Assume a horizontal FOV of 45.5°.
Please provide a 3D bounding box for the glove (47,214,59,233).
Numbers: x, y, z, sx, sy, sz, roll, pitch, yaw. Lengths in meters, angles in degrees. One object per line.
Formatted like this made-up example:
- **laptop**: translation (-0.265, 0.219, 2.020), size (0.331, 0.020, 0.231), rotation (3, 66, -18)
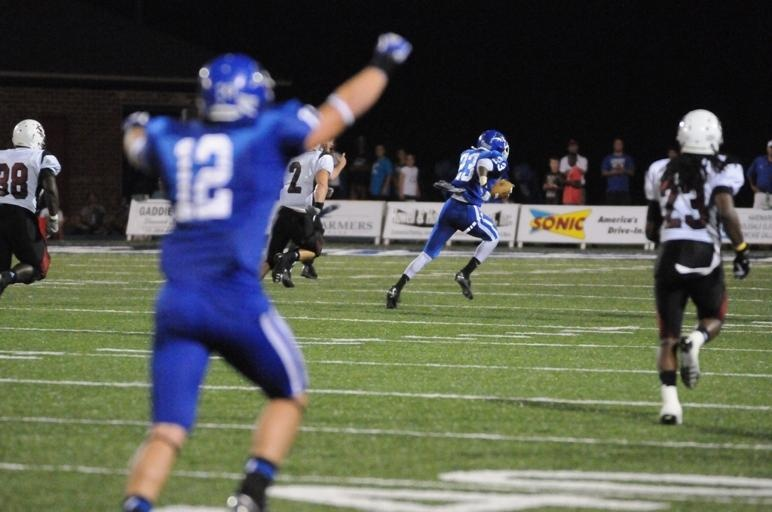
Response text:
- **glove**: translation (-3.744, -0.354, 10.333), size (0.080, 0.061, 0.222), rotation (-7, -31, -31)

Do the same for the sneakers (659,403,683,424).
- **sneakers**: translation (2.131, 1.197, 6.893), size (0.181, 0.156, 0.123), rotation (-5, 5, -18)

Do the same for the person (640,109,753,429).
- **person**: translation (2.428, 0.079, 7.074), size (0.766, 2.381, 0.637), rotation (3, 6, -17)

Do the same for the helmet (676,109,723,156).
- **helmet**: translation (2.433, -0.931, 7.163), size (0.336, 0.371, 0.389), rotation (3, -18, 12)

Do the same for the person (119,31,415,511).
- **person**: translation (-0.730, 0.144, 4.772), size (1.250, 2.413, 0.786), rotation (3, 6, -15)

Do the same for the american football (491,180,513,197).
- **american football**: translation (1.650, -0.958, 12.965), size (0.315, 0.208, 0.140), rotation (-2, 33, 7)

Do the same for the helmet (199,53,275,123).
- **helmet**: translation (-0.801, -0.824, 4.812), size (0.447, 0.298, 0.331), rotation (-10, -36, -16)

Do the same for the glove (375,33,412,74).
- **glove**: translation (0.025, -1.105, 5.030), size (0.202, 0.230, 0.094), rotation (24, -10, -9)

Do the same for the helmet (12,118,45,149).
- **helmet**: translation (-3.912, -1.340, 10.126), size (0.299, 0.357, 0.394), rotation (14, 11, 24)

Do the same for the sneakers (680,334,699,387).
- **sneakers**: translation (2.295, 0.797, 6.948), size (0.170, 0.433, 0.201), rotation (-4, 11, 15)
